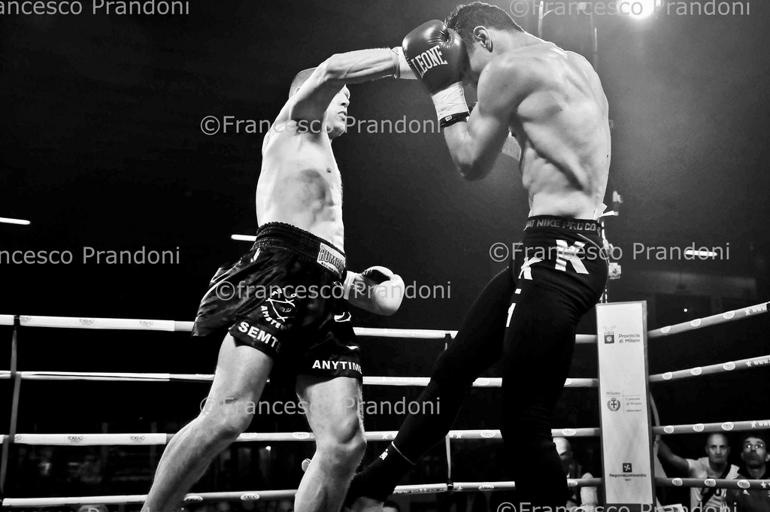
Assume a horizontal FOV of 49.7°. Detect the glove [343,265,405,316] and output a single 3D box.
[{"bbox_3d":[-0.056,0.217,5.448,0.384,0.257,0.172,7,-32,10],"label":"glove"}]
